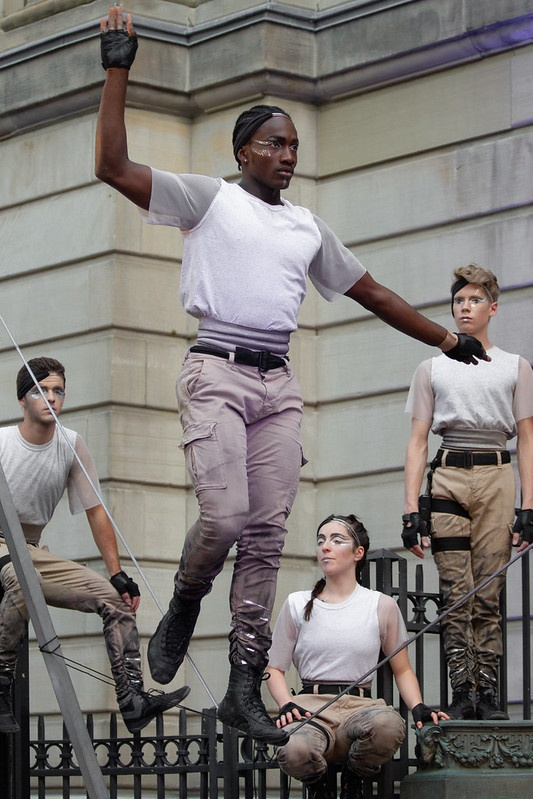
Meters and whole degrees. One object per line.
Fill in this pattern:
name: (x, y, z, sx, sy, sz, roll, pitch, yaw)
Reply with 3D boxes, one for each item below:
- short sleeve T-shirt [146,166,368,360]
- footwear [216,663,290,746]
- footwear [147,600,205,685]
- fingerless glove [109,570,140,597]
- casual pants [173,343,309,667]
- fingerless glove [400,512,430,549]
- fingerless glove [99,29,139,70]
short sleeve T-shirt: (-0.050, -0.621, 12.074, 1.310, 0.737, 0.345, 17, -26, -31)
footwear: (-0.040, 1.321, 10.599, 0.378, 0.279, 0.131, 21, 15, 37)
footwear: (-0.420, 1.082, 11.129, 0.176, 0.455, 0.188, 20, 0, -16)
fingerless glove: (-0.690, 0.927, 12.256, 0.099, 0.155, 0.067, -40, -4, 5)
casual pants: (-0.122, 0.477, 10.646, 0.527, 1.355, 0.449, -3, -14, 8)
fingerless glove: (0.731, 0.652, 12.133, 0.151, 0.164, 0.086, -10, -16, 30)
fingerless glove: (-0.612, -1.455, 10.403, 0.143, 0.200, 0.132, 0, -14, -6)
